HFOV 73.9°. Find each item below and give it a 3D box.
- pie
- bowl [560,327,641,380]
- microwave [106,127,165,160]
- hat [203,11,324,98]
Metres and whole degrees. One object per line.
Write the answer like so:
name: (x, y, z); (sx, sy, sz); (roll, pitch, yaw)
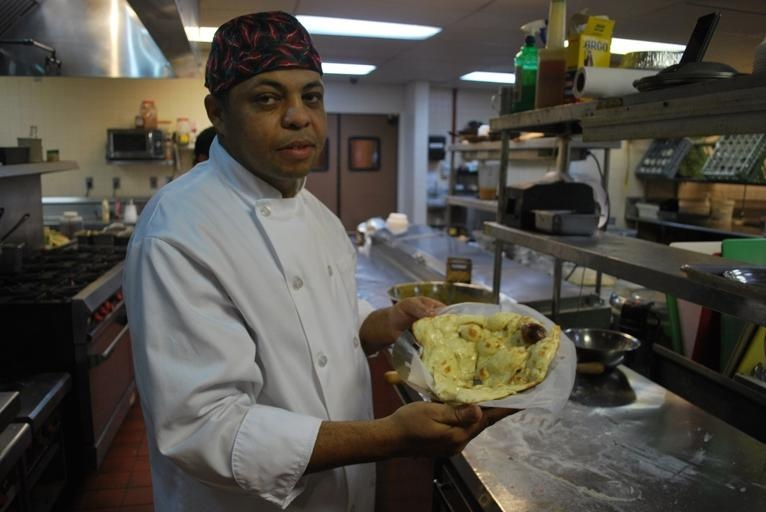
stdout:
pie: (0.340, 0.321, 1.689); (0.330, 0.093, 0.296); (7, 37, 20)
bowl: (0.991, 0.421, 2.306); (0.301, 0.137, 0.272); (1, 11, 8)
microwave: (-2.824, -1.263, 5.980); (0.631, 0.385, 0.363); (-2, -3, -8)
hat: (-0.379, -0.663, 1.663); (0.365, 0.229, 0.374); (7, 24, 41)
